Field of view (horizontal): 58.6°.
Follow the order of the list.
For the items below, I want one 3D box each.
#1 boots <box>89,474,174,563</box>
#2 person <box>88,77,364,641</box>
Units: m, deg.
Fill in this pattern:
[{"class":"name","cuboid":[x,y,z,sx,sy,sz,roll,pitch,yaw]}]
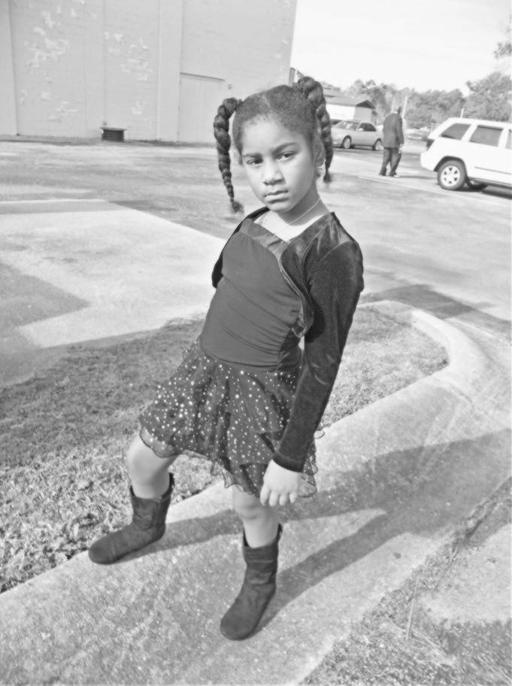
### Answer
[{"class":"boots","cuboid":[-0.402,0.583,1.483,0.231,0.241,0.111,-23,54,-34]},{"class":"person","cuboid":[-0.049,0.096,1.179,0.656,1.429,0.310,13,17,32]}]
